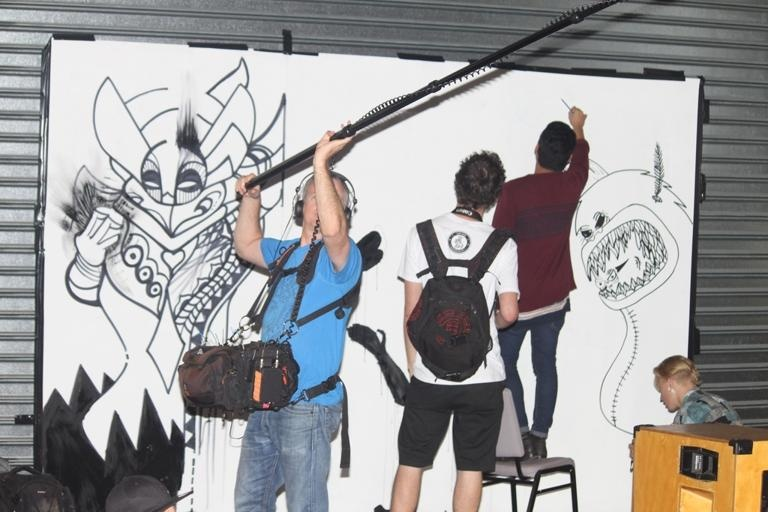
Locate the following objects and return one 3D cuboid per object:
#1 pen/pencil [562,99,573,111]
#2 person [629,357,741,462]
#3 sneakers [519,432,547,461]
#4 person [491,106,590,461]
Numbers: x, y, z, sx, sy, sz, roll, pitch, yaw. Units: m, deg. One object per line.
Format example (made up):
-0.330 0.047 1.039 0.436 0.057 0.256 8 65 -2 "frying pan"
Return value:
1.654 -1.372 15.557 0.123 0.014 0.017 45 2 -17 "pen/pencil"
2.657 1.231 15.107 0.814 0.996 0.776 10 7 -4 "person"
1.339 1.696 15.478 0.244 0.272 0.162 1 0 2 "sneakers"
1.407 0.197 15.813 0.872 3.057 0.656 3 7 2 "person"
